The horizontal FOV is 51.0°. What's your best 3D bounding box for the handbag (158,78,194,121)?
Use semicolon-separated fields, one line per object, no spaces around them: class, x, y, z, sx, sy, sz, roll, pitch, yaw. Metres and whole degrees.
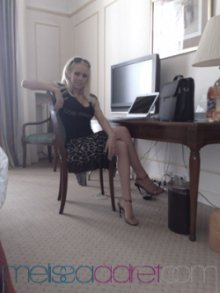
handbag;0.447;-0.322;1.628;0.135;0.283;0.317;-1;4;-23

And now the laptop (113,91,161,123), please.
laptop;0.261;-0.376;1.982;0.423;0.284;0.479;-3;13;-29

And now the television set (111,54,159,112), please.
television set;0.259;-0.720;2.718;0.075;0.590;0.763;-4;8;-36

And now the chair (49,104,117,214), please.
chair;-0.244;0.103;1.989;0.488;0.896;0.444;-2;-3;-8
